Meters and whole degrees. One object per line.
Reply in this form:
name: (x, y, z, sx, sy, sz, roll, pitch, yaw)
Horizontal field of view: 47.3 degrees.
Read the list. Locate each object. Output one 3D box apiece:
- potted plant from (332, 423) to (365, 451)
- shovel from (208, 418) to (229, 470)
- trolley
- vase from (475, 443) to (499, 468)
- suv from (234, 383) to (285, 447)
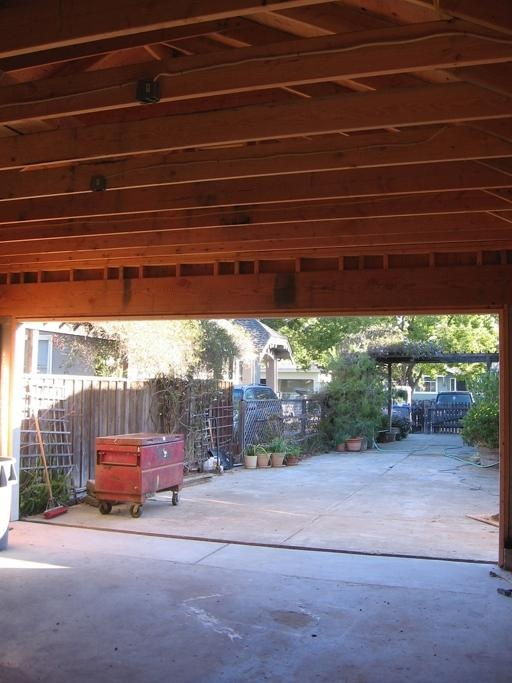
potted plant: (2.770, 2.805, 17.194, 0.909, 0.836, 0.872, 5, -17, -19)
shovel: (-0.836, 2.220, 12.893, 0.644, 1.164, 0.203, -3, -2, 1)
trolley: (-1.667, 1.871, 8.436, 0.744, 0.961, 1.338, -2, -8, 19)
vase: (5.401, 2.658, 13.517, 0.460, 0.330, 0.477, 0, -6, 21)
suv: (0.071, 1.855, 14.827, 1.212, 1.395, 2.617, -3, -3, 2)
